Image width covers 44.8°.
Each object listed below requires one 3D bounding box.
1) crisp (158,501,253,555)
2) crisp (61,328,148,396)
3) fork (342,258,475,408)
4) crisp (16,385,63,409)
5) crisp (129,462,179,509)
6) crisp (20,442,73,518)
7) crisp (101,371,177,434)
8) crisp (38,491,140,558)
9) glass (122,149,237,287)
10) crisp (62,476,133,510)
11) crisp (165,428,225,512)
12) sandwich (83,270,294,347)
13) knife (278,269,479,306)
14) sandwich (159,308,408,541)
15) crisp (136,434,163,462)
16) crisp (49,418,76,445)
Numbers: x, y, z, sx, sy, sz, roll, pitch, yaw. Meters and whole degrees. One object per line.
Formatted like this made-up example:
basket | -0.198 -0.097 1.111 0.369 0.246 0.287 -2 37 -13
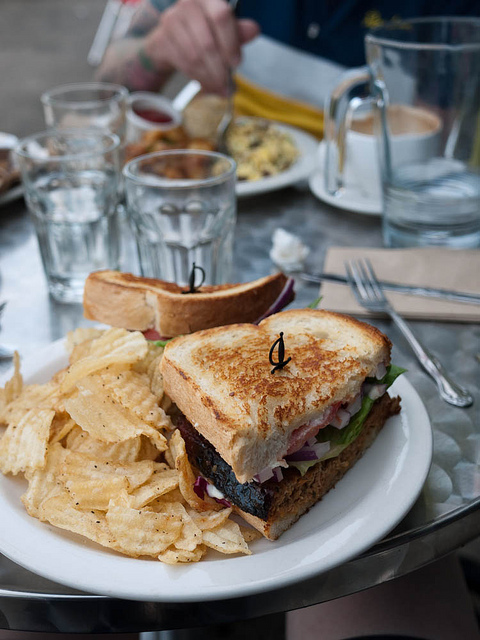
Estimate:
crisp | -0.031 0.189 0.545 0.067 0.033 0.056 9 15 38
crisp | -0.158 0.051 0.675 0.082 0.020 0.067 -14 27 -14
fork | 0.240 0.007 0.911 0.055 0.041 0.364 -3 38 -22
crisp | -0.237 0.082 0.673 0.035 0.004 0.034 13 28 29
crisp | -0.085 0.162 0.588 0.042 0.027 0.037 25 15 16
crisp | -0.197 0.165 0.592 0.035 0.041 0.054 -12 18 -42
crisp | -0.127 0.089 0.670 0.089 0.018 0.060 39 28 10
crisp | -0.151 0.177 0.552 0.086 0.037 0.103 -5 9 -20
glass | -0.079 -0.170 0.988 0.235 0.223 0.182 -11 39 -18
crisp | -0.142 0.160 0.542 0.044 0.012 0.036 5 35 -14
crisp | -0.042 0.160 0.644 0.073 0.069 0.067 16 22 41
sandwich | -0.058 -0.063 0.914 0.343 0.094 0.241 12 20 40
knife | 0.247 -0.055 1.004 0.326 0.016 0.029 9 71 6
sandwich | 0.039 0.085 0.627 0.254 0.085 0.227 -15 34 -27
crisp | -0.101 0.141 0.642 0.035 0.007 0.032 -1 34 -15
crisp | -0.200 0.126 0.655 0.033 0.011 0.030 -8 40 44
